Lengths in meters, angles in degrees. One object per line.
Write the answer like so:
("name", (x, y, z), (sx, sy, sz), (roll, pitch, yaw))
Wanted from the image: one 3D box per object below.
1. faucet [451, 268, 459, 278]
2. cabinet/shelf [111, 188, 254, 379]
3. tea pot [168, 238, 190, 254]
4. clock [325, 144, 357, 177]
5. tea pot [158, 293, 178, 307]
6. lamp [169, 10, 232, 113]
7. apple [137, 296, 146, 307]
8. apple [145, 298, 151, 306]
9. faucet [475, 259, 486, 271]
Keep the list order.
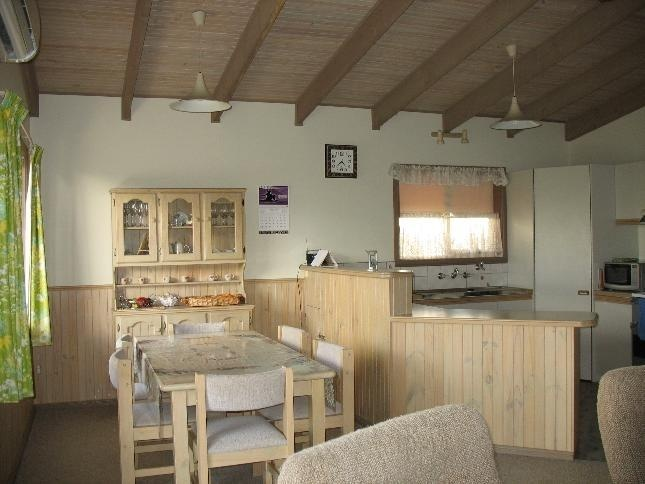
("faucet", (1.841, 0.432, 7.304), (0.134, 0.143, 0.039), (-1, 0, -24))
("cabinet/shelf", (-1.629, 0.397, 6.004), (1.507, 2.033, 0.507), (-1, 1, -16))
("tea pot", (-1.610, 0.049, 5.882), (0.131, 0.155, 0.211), (-4, -8, 32))
("clock", (0.205, -1.052, 6.724), (0.414, 0.393, 0.043), (1, 0, -20))
("tea pot", (-1.774, 0.652, 5.991), (0.148, 0.087, 0.150), (-2, -2, 0))
("lamp", (-1.041, -1.535, 4.402), (0.506, 0.733, 0.506), (11, 16, 33))
("apple", (-2.050, 0.671, 5.873), (0.101, 0.104, 0.079), (-1, 0, -20))
("apple", (-1.984, 0.680, 5.933), (0.027, 0.069, 0.052), (3, 1, 10))
("faucet", (2.217, 0.322, 7.402), (0.099, 0.152, 0.032), (-10, -11, 24))
